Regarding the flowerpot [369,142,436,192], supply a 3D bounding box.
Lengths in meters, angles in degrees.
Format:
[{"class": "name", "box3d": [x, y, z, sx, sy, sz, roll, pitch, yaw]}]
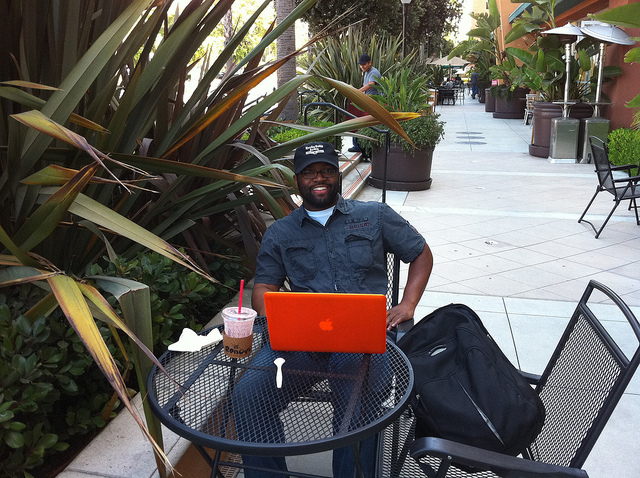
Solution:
[{"class": "flowerpot", "box3d": [1.476, -1.234, 8.380, 1.291, 0.908, 1.271, 1, 11, -4]}]

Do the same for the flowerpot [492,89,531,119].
[{"class": "flowerpot", "box3d": [8.653, -6.057, 20.084, 1.137, 0.840, 1.167, 10, 17, 43]}]

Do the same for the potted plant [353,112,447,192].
[{"class": "potted plant", "box3d": [1.516, -1.591, 8.303, 1.300, 1.426, 1.193, 9, 23, 37]}]

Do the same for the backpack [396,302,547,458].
[{"class": "backpack", "box3d": [0.562, 0.621, 1.963, 0.554, 0.271, 0.711, -28, 59, -9]}]
